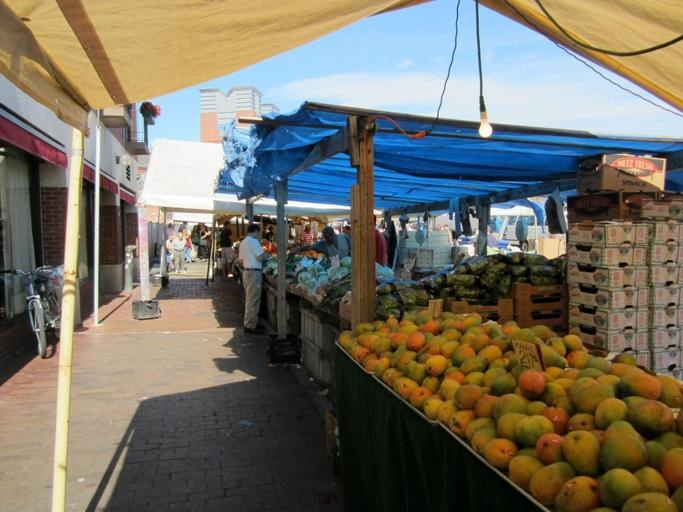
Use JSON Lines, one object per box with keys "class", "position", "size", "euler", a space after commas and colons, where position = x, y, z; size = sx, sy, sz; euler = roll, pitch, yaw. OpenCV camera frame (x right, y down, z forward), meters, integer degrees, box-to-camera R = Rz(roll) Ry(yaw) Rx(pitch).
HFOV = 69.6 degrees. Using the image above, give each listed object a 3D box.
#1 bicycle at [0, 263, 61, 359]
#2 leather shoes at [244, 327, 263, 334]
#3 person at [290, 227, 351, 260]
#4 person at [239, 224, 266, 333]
{"class": "bicycle", "position": [-5.766, 0.851, 8.960], "size": [0.930, 1.114, 1.920], "euler": [-6, -1, -13]}
{"class": "leather shoes", "position": [-1.898, 1.599, 10.590], "size": [0.421, 0.172, 0.144], "euler": [-1, 8, -7]}
{"class": "person", "position": [-0.252, -0.287, 9.632], "size": [0.632, 0.609, 1.143], "euler": [-3, 6, -35]}
{"class": "person", "position": [-1.933, 0.452, 10.692], "size": [0.506, 2.306, 0.958], "euler": [0, 5, -12]}
